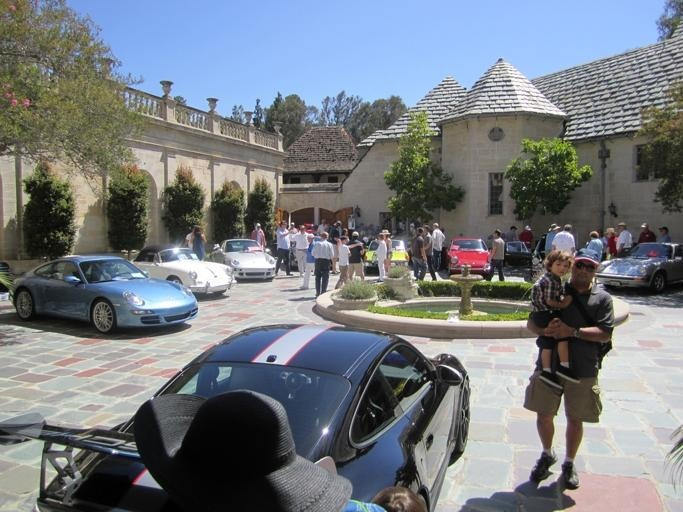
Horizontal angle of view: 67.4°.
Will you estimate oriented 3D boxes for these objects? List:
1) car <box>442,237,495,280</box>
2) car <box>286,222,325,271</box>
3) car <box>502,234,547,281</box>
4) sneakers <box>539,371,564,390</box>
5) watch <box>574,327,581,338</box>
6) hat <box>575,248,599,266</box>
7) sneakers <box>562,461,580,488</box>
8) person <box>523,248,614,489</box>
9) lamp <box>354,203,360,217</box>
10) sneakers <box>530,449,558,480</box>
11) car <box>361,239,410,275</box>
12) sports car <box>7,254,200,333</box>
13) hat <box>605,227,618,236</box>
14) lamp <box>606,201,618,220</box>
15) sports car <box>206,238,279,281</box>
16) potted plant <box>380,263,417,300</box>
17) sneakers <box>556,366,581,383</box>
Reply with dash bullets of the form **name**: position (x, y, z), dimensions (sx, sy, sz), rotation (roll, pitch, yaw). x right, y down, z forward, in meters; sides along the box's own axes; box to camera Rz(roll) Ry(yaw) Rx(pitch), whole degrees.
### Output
- **car**: position (4.764, 0.034, 18.958), dimensions (1.345, 1.270, 3.443), rotation (-1, 1, 3)
- **car**: position (-1.462, -0.401, 21.828), dimensions (1.333, 1.558, 3.066), rotation (-1, 1, -7)
- **car**: position (6.880, 0.041, 19.402), dimensions (1.840, 1.580, 3.062), rotation (0, 0, 39)
- **sneakers**: position (2.016, 1.183, 4.976), dimensions (0.277, 0.099, 0.121), rotation (19, -13, 20)
- **watch**: position (2.226, 0.719, 4.817), dimensions (0.055, 0.082, 0.077), rotation (8, -1, -16)
- **hat**: position (2.469, -0.003, 5.095), dimensions (0.272, 0.149, 0.436), rotation (7, -2, 27)
- **sneakers**: position (2.200, 2.104, 4.884), dimensions (0.100, 0.137, 0.305), rotation (-2, -6, 22)
- **person**: position (2.222, 1.089, 4.991), dimensions (0.786, 2.225, 0.443), rotation (0, 4, 21)
- **lamp**: position (1.126, -3.123, 35.241), dimensions (0.512, 0.785, 0.135), rotation (-4, 4, -36)
- **sneakers**: position (1.993, 2.040, 5.075), dimensions (0.146, 0.179, 0.406), rotation (0, 20, 44)
- **car**: position (1.625, 0.038, 19.032), dimensions (1.279, 1.096, 2.986), rotation (0, -3, 8)
- **sports car**: position (-5.006, 0.738, 10.802), dimensions (3.689, 1.481, 1.416), rotation (0, 4, 22)
- **hat**: position (11.138, -1.013, 20.992), dimensions (0.605, 0.259, 0.690), rotation (-5, 5, 37)
- **lamp**: position (13.961, -2.380, 26.299), dimensions (0.496, 0.896, 0.407), rotation (-5, 5, -43)
- **sports car**: position (-3.523, 0.133, 18.754), dimensions (1.225, 1.048, 2.832), rotation (-1, 4, -27)
- **potted plant**: position (1.583, 0.680, 13.194), dimensions (0.788, 0.861, 0.837), rotation (-16, 20, -33)
- **sneakers**: position (2.148, 1.122, 4.871), dimensions (0.227, 0.104, 0.083), rotation (20, 35, 35)
